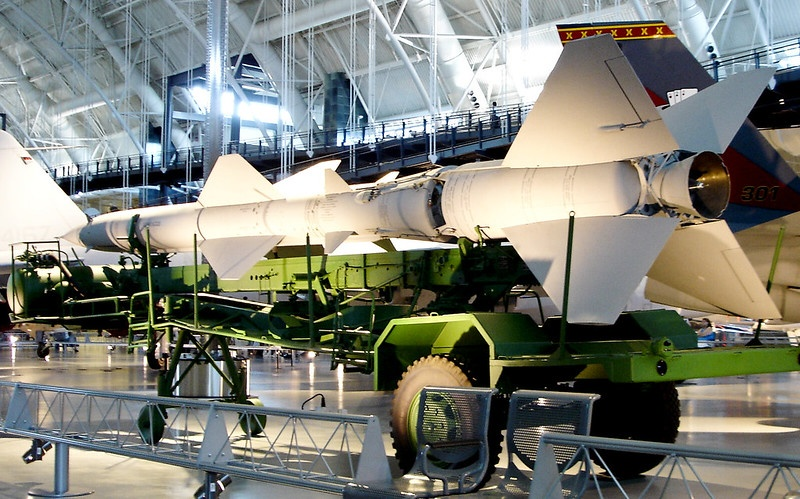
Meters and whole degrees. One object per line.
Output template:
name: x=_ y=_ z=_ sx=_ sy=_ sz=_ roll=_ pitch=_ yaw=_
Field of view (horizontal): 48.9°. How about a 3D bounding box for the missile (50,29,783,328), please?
missile: x=-1.198 y=-1.423 z=17.666 sx=15.151 sy=3.574 sz=4.665 roll=1 pitch=-11 yaw=38
